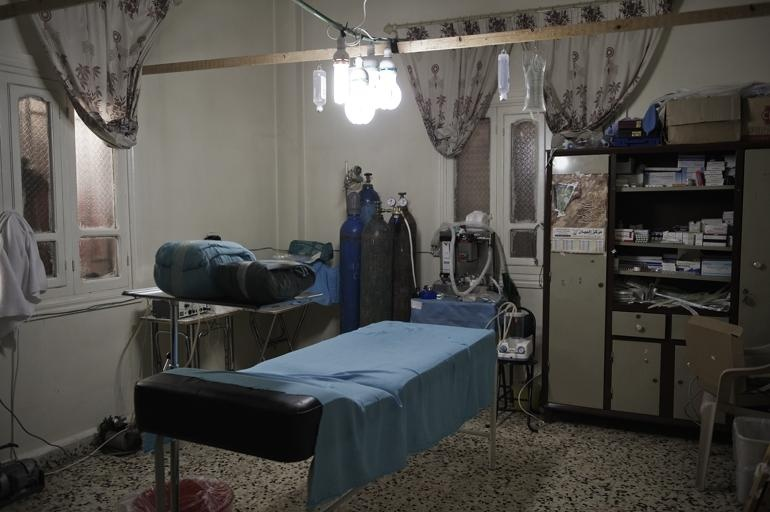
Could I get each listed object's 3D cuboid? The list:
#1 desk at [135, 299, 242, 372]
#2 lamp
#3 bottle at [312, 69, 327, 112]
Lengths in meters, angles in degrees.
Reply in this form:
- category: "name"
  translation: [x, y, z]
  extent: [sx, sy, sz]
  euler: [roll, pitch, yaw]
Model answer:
- category: "desk"
  translation: [-1.899, 0.725, 5.479]
  extent: [0.622, 0.497, 0.655]
  euler: [-9, -4, 9]
- category: "lamp"
  translation: [-0.149, -1.374, 4.402]
  extent: [0.509, 0.663, 0.196]
  euler: [-1, 14, -3]
- category: "bottle"
  translation: [-0.530, -1.346, 4.564]
  extent: [0.086, 0.338, 0.288]
  euler: [-3, 14, -9]
